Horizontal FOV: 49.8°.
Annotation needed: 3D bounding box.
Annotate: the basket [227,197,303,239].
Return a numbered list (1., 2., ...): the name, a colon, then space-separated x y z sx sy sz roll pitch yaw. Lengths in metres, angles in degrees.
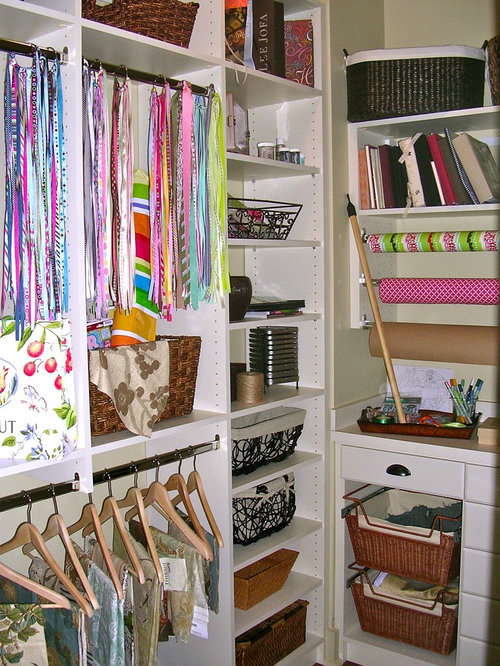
1. basket: 0.048 -0.356 1.747 0.154 0.089 0.244 4 3 24

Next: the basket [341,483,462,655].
1. basket: 0.557 0.808 2.084 0.456 0.599 0.504 -1 -4 30

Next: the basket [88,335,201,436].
1. basket: -0.287 0.118 1.400 0.266 0.204 0.167 -4 -6 27

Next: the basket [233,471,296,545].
1. basket: 0.050 0.587 1.762 0.166 0.195 0.250 2 6 32

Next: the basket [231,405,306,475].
1. basket: 0.062 0.342 1.716 0.144 0.113 0.208 1 7 44
